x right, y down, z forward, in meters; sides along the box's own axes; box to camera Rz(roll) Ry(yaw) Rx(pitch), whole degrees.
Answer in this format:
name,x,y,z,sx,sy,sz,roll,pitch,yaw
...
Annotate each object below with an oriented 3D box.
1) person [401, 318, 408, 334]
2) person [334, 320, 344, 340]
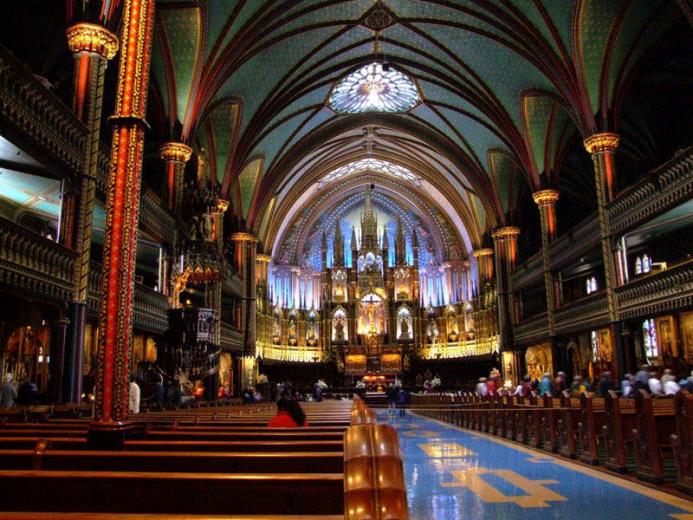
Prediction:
name,x,y,z,sx,sy,sz,roll,pitch,yaw
person,3.850,4.598,39.840,0.481,1.039,0.322,6,-4,1
person,-0.507,4.813,40.018,0.640,1.262,0.506,6,-4,-6
